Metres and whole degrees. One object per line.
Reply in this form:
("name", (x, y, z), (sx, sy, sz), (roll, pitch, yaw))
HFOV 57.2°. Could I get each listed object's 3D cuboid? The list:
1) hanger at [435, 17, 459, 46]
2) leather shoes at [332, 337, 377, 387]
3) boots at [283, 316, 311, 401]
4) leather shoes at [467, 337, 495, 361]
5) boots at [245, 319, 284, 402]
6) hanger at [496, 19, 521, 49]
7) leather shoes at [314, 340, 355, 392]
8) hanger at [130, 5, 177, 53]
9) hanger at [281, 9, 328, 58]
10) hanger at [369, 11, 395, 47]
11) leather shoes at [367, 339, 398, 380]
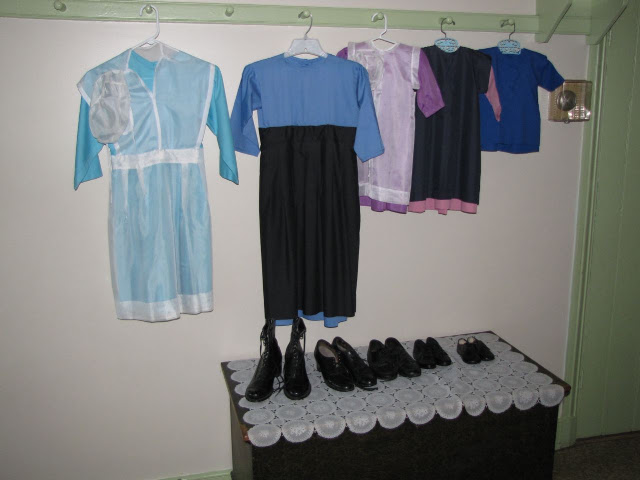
("hanger", (0.620, -1.030, 2.878), (0.124, 0.139, 0.117), (-5, 20, -12))
("leather shoes", (0.171, 0.601, 2.860), (0.098, 0.098, 0.301), (-11, 33, -24))
("boots", (-0.112, 0.577, 2.762), (0.118, 0.170, 0.373), (0, 23, -4))
("leather shoes", (0.831, 0.561, 3.035), (0.057, 0.062, 0.158), (-7, 15, -13))
("boots", (-0.272, 0.573, 2.801), (0.142, 0.286, 0.401), (4, 14, 9))
("hanger", (0.949, -1.025, 2.937), (0.116, 0.177, 0.164), (0, 12, 13))
("leather shoes", (0.080, 0.632, 2.845), (0.139, 0.123, 0.388), (-19, 17, -3))
("hanger", (-0.774, -0.969, 2.662), (0.161, 0.209, 0.148), (-6, 13, -18))
("hanger", (-0.071, -0.959, 2.748), (0.196, 0.214, 0.219), (-3, 12, -2))
("hanger", (0.296, -1.030, 2.845), (0.185, 0.205, 0.022), (-1, 6, -6))
("leather shoes", (0.311, 0.602, 2.931), (0.114, 0.100, 0.325), (-4, 10, -4))
